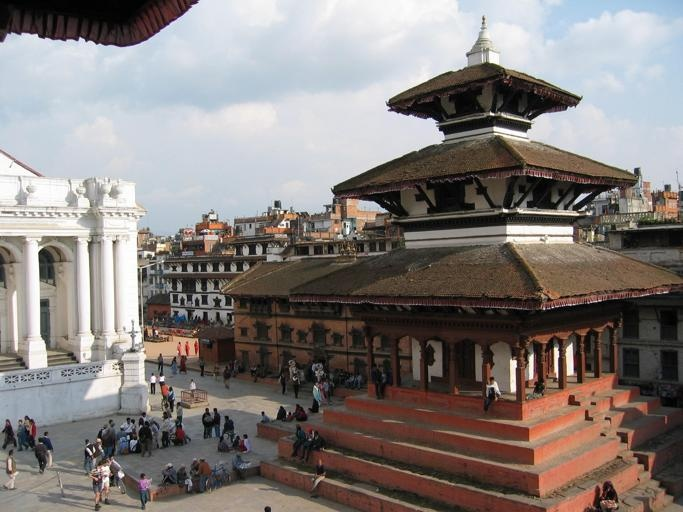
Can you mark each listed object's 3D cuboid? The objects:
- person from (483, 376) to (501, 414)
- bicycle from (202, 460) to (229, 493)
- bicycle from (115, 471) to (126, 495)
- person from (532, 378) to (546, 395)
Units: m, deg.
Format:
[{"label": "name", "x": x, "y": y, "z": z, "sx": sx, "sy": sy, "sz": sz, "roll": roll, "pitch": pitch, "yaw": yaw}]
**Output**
[{"label": "person", "x": 6.605, "y": 6.061, "z": 37.279, "sx": 0.707, "sy": 1.494, "sz": 0.402, "roll": -2, "pitch": -4, "yaw": 10}, {"label": "bicycle", "x": -5.921, "y": 10.302, "z": 39.894, "sx": 0.490, "sy": 1.228, "sz": 1.383, "roll": -5, "pitch": -5, "yaw": 39}, {"label": "bicycle", "x": -10.414, "y": 10.565, "z": 39.895, "sx": 0.455, "sy": 1.102, "sz": 0.727, "roll": 0, "pitch": -4, "yaw": -15}, {"label": "person", "x": 8.861, "y": 5.809, "z": 37.796, "sx": 0.493, "sy": 0.754, "sz": 0.284, "roll": -1, "pitch": -4, "yaw": 0}]
